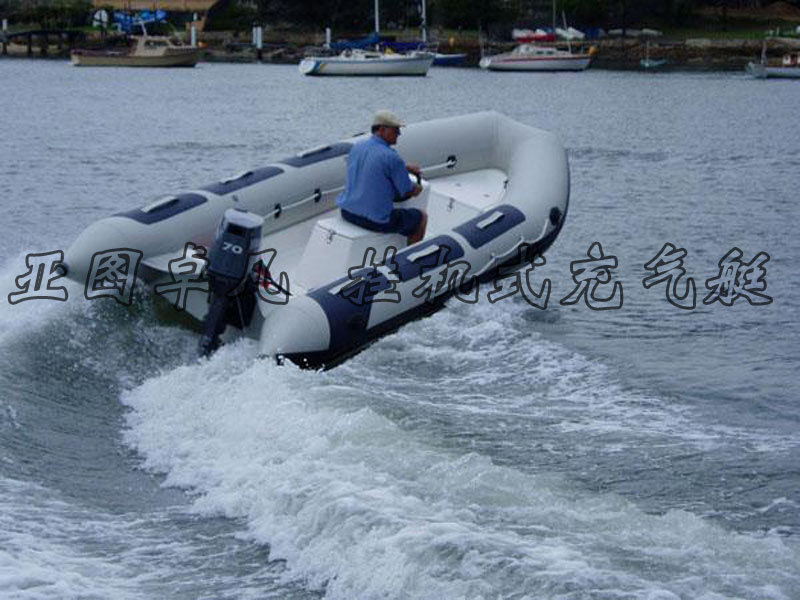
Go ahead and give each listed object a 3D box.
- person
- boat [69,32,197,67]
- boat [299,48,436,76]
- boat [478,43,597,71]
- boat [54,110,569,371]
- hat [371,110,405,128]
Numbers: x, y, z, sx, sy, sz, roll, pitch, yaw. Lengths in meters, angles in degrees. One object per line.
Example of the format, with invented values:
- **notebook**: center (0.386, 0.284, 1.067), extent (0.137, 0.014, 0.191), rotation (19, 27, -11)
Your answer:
- **person**: center (-0.118, -1.052, 10.026), extent (0.685, 1.166, 0.460), rotation (-12, 20, -34)
- **boat**: center (-10.966, -10.470, 48.476), extent (5.000, 1.271, 1.643), rotation (1, 15, 5)
- **boat**: center (-1.152, -9.139, 44.424), extent (5.444, 0.903, 1.546), rotation (1, 31, 5)
- **boat**: center (5.901, -10.651, 50.452), extent (4.945, 1.199, 1.548), rotation (10, 18, 37)
- **boat**: center (-0.290, -0.757, 10.803), extent (2.748, 0.628, 4.552), rotation (31, 42, 33)
- **hat**: center (-0.102, -1.587, 10.016), extent (0.262, 0.094, 0.161), rotation (-6, 25, -11)
